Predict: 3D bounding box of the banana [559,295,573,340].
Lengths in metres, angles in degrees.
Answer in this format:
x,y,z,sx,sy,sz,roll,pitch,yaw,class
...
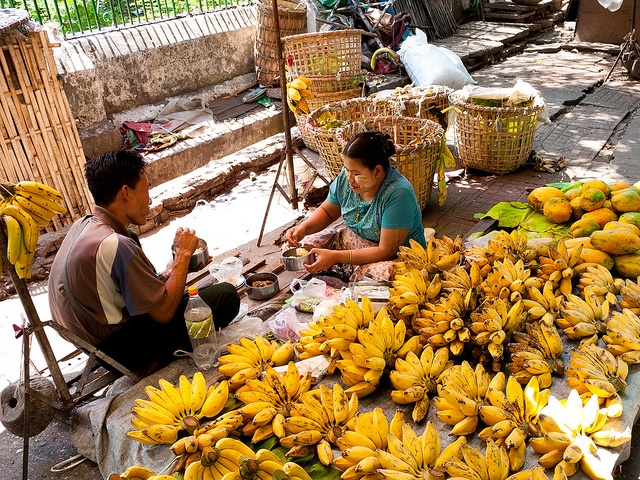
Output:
x,y,z,sx,sy,sz,roll,pitch,yaw,class
1.601,0.532,3.353,0.096,0.215,0.087,-10,3,23,banana

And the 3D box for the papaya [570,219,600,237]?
x,y,z,sx,sy,sz,roll,pitch,yaw,class
2.212,-0.092,4.315,0.187,0.144,0.149,-13,61,9,papaya

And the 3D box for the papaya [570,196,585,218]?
x,y,z,sx,sy,sz,roll,pitch,yaw,class
2.335,-0.289,4.644,0.116,0.121,0.151,19,38,-20,papaya

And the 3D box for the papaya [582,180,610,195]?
x,y,z,sx,sy,sz,roll,pitch,yaw,class
2.486,-0.467,4.621,0.188,0.119,0.142,2,8,9,papaya

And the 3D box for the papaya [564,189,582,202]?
x,y,z,sx,sy,sz,roll,pitch,yaw,class
2.377,-0.426,4.814,0.154,0.094,0.091,-24,5,-4,papaya

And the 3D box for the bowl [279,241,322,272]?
x,y,z,sx,sy,sz,roll,pitch,yaw,class
-0.210,0.166,4.652,0.247,0.152,0.257,-3,23,1,bowl

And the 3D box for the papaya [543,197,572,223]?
x,y,z,sx,sy,sz,roll,pitch,yaw,class
2.206,-0.272,4.767,0.187,0.198,0.217,-18,37,-16,papaya

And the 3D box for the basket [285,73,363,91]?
x,y,z,sx,sy,sz,roll,pitch,yaw,class
0.177,-2.428,7.979,0.681,0.202,0.708,8,28,25,basket

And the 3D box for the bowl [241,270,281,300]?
x,y,z,sx,sy,sz,roll,pitch,yaw,class
-0.524,0.418,4.621,0.293,0.144,0.293,-4,36,3,bowl

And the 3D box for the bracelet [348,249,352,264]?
x,y,z,sx,sy,sz,roll,pitch,yaw,class
0.262,0.160,4.398,0.033,0.136,0.066,-5,35,2,bracelet

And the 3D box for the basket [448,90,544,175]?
x,y,z,sx,sy,sz,roll,pitch,yaw,class
2.324,-1.384,7.027,1.103,0.922,1.153,-2,-5,24,basket

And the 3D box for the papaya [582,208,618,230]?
x,y,z,sx,sy,sz,roll,pitch,yaw,class
2.399,-0.198,4.449,0.283,0.160,0.168,-10,59,-10,papaya

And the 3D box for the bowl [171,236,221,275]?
x,y,z,sx,sy,sz,roll,pitch,yaw,class
-1.268,0.168,5.151,0.340,0.220,0.357,-3,30,2,bowl

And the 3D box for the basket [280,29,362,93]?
x,y,z,sx,sy,sz,roll,pitch,yaw,class
-0.004,-2.802,8.033,1.016,0.786,1.041,14,35,37,basket

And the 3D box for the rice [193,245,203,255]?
x,y,z,sx,sy,sz,roll,pitch,yaw,class
-1.217,0.115,5.124,0.085,0.042,0.119,-8,25,28,rice

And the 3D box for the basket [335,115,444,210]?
x,y,z,sx,sy,sz,roll,pitch,yaw,class
0.838,-0.887,6.389,1.506,1.205,1.552,3,7,35,basket
